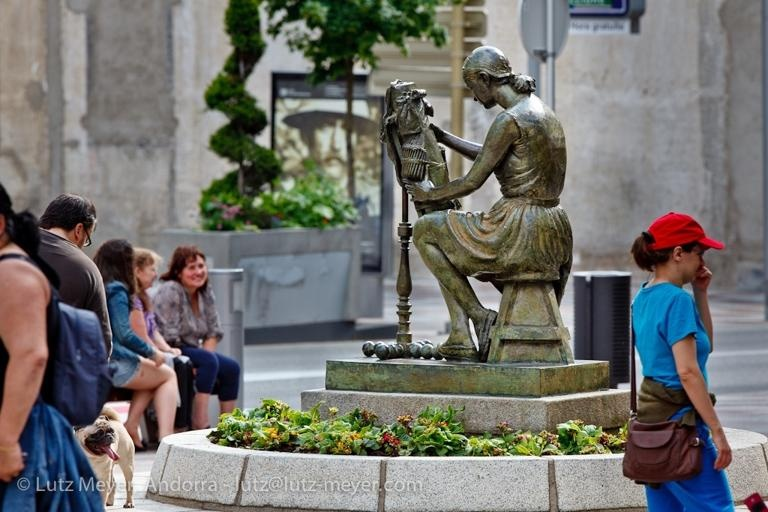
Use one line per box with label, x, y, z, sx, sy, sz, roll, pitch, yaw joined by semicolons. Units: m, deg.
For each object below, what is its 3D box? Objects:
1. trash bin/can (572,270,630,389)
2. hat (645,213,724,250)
trash bin/can;2.497;0.849;24.225;0.647;1.275;0.344;1;6;5
hat;2.714;-0.199;19.389;0.514;0.308;0.353;0;-1;-2
